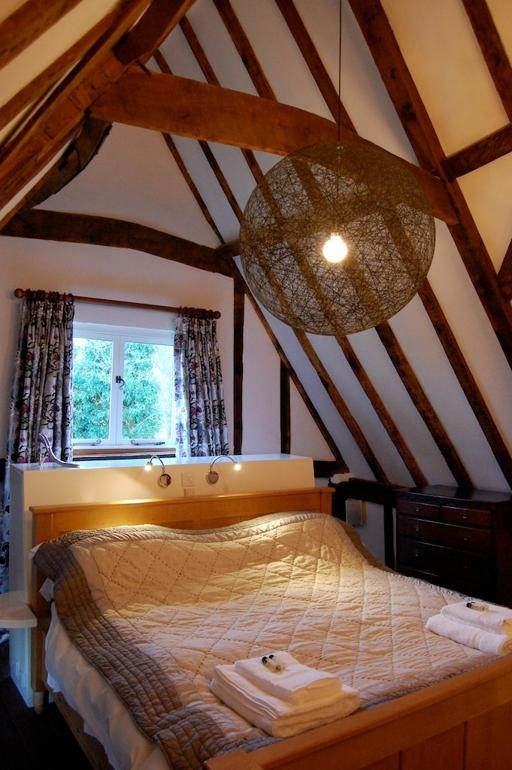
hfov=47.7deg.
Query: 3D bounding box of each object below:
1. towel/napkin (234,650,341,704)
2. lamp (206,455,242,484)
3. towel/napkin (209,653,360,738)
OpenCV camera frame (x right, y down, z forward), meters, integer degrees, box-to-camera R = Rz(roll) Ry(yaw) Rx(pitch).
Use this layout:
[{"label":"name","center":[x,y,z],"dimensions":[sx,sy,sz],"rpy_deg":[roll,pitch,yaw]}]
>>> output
[{"label":"towel/napkin","center":[0.082,0.771,1.525],"dimensions":[0.121,0.040,0.158],"rpy_deg":[3,-3,-35]},{"label":"lamp","center":[-0.197,0.486,3.309],"dimensions":[0.235,0.165,0.104],"rpy_deg":[4,-8,-35]},{"label":"towel/napkin","center":[0.079,0.789,1.533],"dimensions":[0.288,0.101,0.344],"rpy_deg":[4,-8,-34]}]
